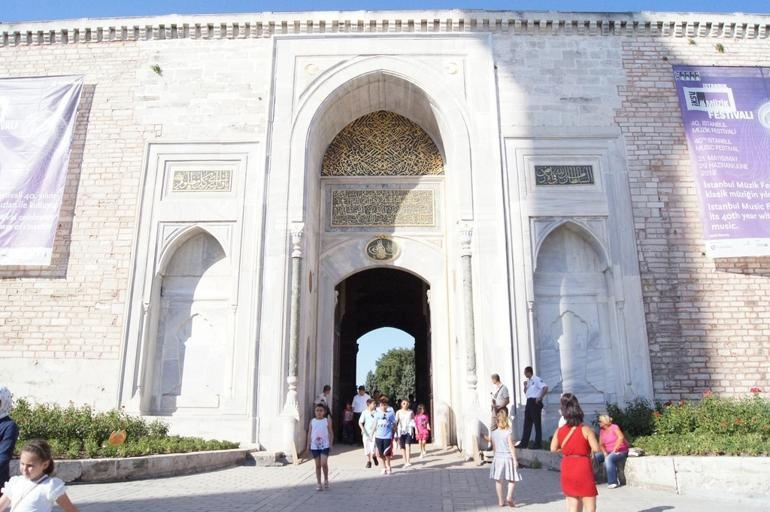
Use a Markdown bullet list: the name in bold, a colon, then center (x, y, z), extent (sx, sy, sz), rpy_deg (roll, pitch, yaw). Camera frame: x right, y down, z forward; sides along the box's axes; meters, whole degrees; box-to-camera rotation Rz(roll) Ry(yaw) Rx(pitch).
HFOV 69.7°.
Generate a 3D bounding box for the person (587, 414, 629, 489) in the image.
- **person**: center (2.926, 2.547, 7.222), extent (0.548, 0.849, 0.500), rpy_deg (-7, -16, -7)

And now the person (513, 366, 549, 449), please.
- **person**: center (2.348, 2.536, 9.019), extent (0.541, 1.333, 0.586), rpy_deg (15, -37, -2)

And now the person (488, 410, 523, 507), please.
- **person**: center (1.400, 2.370, 6.510), extent (0.297, 1.041, 0.962), rpy_deg (-4, -18, 11)
